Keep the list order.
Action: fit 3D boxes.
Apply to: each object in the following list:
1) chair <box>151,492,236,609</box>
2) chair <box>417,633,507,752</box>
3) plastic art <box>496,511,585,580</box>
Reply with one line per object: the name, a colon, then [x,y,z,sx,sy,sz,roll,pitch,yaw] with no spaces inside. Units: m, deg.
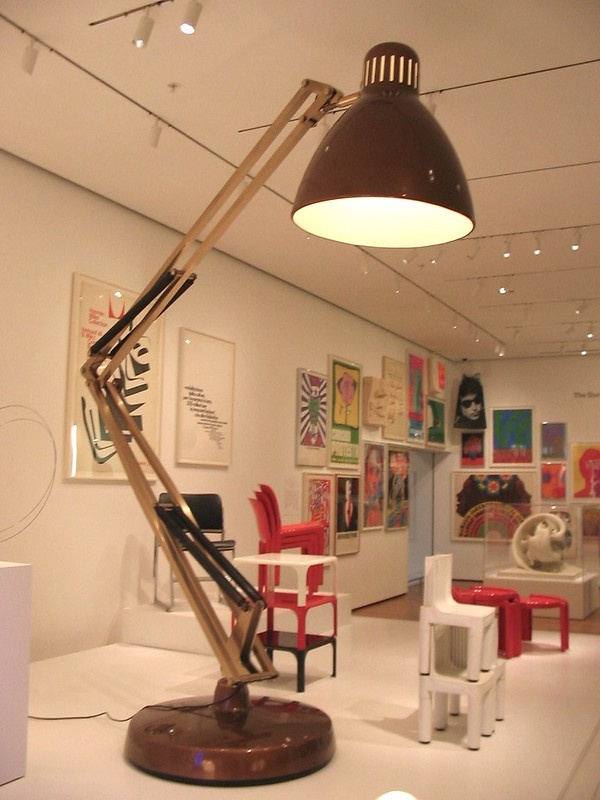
chair: [-0.793,1.150,5.030,0.686,0.825,0.656,-2,-9,16]
chair: [0.763,1.318,3.052,0.312,0.468,0.389,-2,-5,28]
plastic art: [2.509,1.512,6.809,0.759,0.600,0.389,-3,-9,30]
